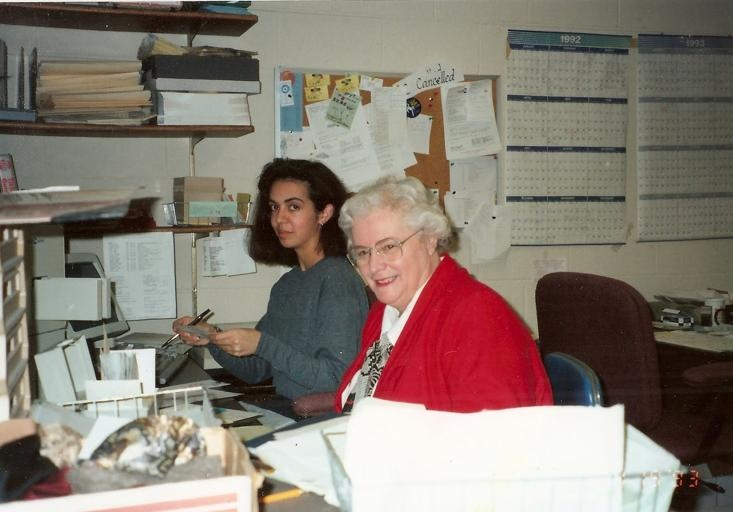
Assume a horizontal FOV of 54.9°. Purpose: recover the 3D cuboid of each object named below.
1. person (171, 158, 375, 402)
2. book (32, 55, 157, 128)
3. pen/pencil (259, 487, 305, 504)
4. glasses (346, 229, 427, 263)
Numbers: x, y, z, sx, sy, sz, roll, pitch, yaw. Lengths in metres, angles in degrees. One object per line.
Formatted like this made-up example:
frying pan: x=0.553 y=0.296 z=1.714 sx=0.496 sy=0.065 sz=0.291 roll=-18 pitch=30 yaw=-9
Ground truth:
person: x=-0.402 y=0.049 z=2.799 sx=0.795 sy=1.276 sz=0.832 roll=2 pitch=-4 yaw=-18
book: x=-0.958 y=-0.572 z=2.491 sx=0.387 sy=0.218 sz=0.075 roll=-5 pitch=8 yaw=-21
pen/pencil: x=-0.172 y=0.484 z=1.420 sx=0.097 sy=0.022 sz=0.022 roll=-7 pitch=46 yaw=-4
glasses: x=0.035 y=-0.012 z=1.845 sx=0.115 sy=0.034 sz=0.119 roll=-18 pitch=3 yaw=37
